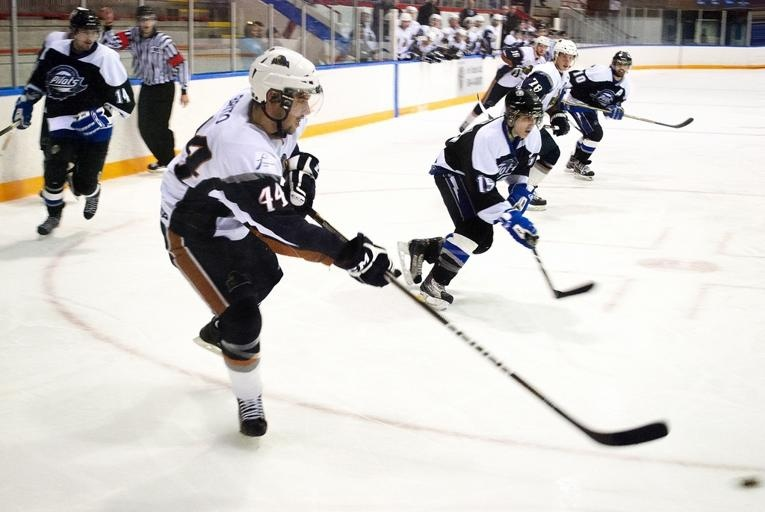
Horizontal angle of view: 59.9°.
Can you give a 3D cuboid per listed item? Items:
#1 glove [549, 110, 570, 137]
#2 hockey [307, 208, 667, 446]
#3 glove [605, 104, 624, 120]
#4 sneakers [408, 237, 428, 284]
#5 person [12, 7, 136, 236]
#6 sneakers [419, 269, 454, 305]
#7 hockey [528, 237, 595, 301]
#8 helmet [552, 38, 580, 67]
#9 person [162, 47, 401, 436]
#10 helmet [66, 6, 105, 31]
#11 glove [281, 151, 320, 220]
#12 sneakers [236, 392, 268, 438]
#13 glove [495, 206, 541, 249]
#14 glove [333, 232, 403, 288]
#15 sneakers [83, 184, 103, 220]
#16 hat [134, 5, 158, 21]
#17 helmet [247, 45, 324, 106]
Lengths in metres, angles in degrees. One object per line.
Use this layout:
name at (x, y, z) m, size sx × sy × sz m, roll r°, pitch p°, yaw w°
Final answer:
glove at (1.661, -1.238, 6.266) m, size 0.124 × 0.229 × 0.249 m, roll 9°, pitch -32°, yaw -8°
hockey at (0.545, 0.381, 3.422) m, size 2.060 × 0.227 × 0.187 m, roll 28°, pitch 32°, yaw 18°
glove at (2.434, -1.498, 6.945) m, size 0.157 × 0.071 × 0.193 m, roll 15°, pitch 26°, yaw 13°
sneakers at (0.208, 0.021, 4.070) m, size 0.139 × 0.272 × 0.110 m, roll -7°, pitch -3°, yaw 42°
person at (-2.210, -0.952, 4.780) m, size 0.802 × 1.570 × 0.448 m, roll -5°, pitch 20°, yaw -23°
sneakers at (0.277, 0.173, 3.864) m, size 0.278 × 0.124 × 0.111 m, roll 36°, pitch 26°, yaw 34°
hockey at (1.029, 0.101, 4.012) m, size 0.398 × 0.347 × 0.103 m, roll -14°, pitch -12°, yaw -27°
helmet at (1.677, -1.869, 6.140) m, size 0.198 × 0.254 × 0.258 m, roll 6°, pitch 17°, yaw 9°
person at (-0.451, -0.030, 2.597) m, size 0.471 × 1.503 × 0.785 m, roll -15°, pitch 25°, yaw -43°
helmet at (-2.116, -1.665, 4.702) m, size 0.208 × 0.157 × 0.199 m, roll -11°, pitch 21°, yaw -40°
glove at (-0.382, -0.313, 2.906) m, size 0.117 × 0.235 × 0.204 m, roll -15°, pitch -34°, yaw 43°
sneakers at (-0.531, 0.647, 2.667) m, size 0.082 × 0.077 × 0.222 m, roll -3°, pitch 9°, yaw -18°
glove at (0.759, -0.149, 3.663) m, size 0.270 × 0.105 × 0.156 m, roll 39°, pitch -7°, yaw 8°
glove at (-0.081, 0.019, 2.534) m, size 0.268 × 0.137 × 0.096 m, roll 34°, pitch -5°, yaw -30°
sneakers at (-2.178, -0.384, 5.018) m, size 0.120 × 0.294 × 0.129 m, roll 10°, pitch 13°, yaw -21°
hat at (-2.239, -2.280, 6.270) m, size 0.183 × 0.149 × 0.273 m, roll -3°, pitch 16°, yaw -17°
helmet at (-0.340, -0.686, 2.580) m, size 0.294 × 0.206 × 0.201 m, roll 10°, pitch 11°, yaw -3°
